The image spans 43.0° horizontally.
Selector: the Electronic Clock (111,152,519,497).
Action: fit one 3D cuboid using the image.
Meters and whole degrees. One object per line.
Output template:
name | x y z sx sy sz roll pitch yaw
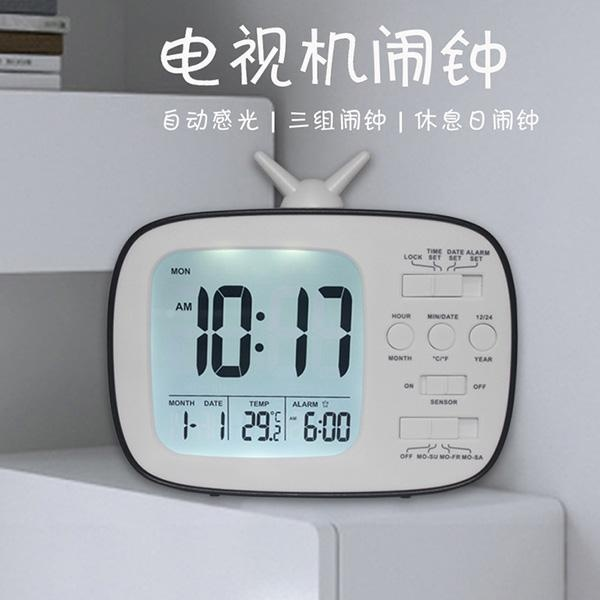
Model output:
Electronic Clock | 0.026 0.039 0.796 0.389 0.348 0.076 0 1 0
